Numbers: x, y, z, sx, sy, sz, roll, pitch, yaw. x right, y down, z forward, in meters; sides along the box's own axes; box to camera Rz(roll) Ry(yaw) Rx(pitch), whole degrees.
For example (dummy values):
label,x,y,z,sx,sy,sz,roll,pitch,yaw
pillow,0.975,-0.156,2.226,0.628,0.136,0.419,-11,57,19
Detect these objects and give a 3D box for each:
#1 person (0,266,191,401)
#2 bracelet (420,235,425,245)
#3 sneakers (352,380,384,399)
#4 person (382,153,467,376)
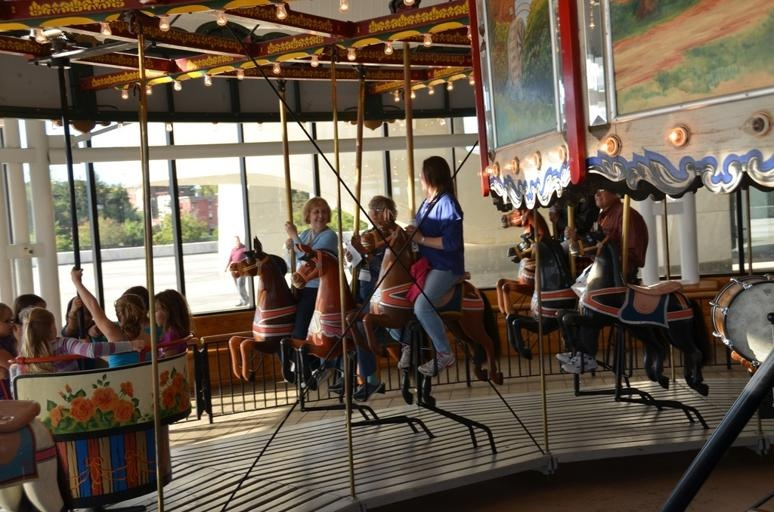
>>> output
label,x,y,z,sx,sy,sz,roll,pitch,yaw
person,-2.471,0.675,7.031,1.061,0.716,1.142,12,18,-21
bracelet,0.361,-0.179,8.094,0.041,0.066,0.060,6,-23,4
sneakers,-0.166,1.523,9.095,0.470,0.197,0.168,-2,-5,-44
person,0.540,0.136,8.158,0.670,2.316,0.722,-7,12,-17
